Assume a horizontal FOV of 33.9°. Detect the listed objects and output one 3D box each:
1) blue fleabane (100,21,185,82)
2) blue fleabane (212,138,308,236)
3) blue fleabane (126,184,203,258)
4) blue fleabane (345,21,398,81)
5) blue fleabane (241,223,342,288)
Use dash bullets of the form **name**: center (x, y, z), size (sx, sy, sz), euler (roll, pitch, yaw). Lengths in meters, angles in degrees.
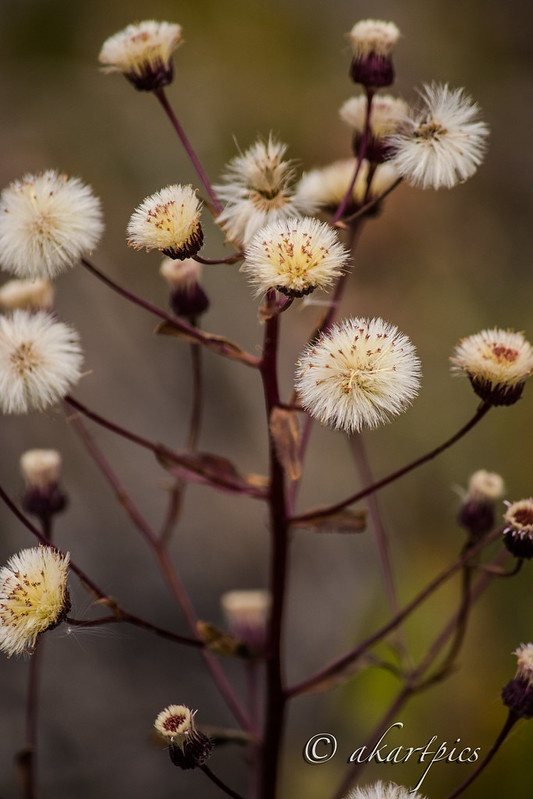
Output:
- **blue fleabane**: center (-0.076, -0.219, 0.534), size (0.048, 0.029, 0.096), euler (-11, 36, -1)
- **blue fleabane**: center (-0.007, -0.124, 0.507), size (0.046, 0.049, 0.098), euler (-9, 36, 2)
- **blue fleabane**: center (-0.053, -0.092, 0.474), size (0.042, 0.034, 0.039), euler (2, 37, 15)
- **blue fleabane**: center (0.066, -0.206, 0.540), size (0.033, 0.042, 0.032), euler (0, 22, -4)
- **blue fleabane**: center (0.015, -0.073, 0.447), size (0.034, 0.018, 0.033), euler (-10, 30, 16)
